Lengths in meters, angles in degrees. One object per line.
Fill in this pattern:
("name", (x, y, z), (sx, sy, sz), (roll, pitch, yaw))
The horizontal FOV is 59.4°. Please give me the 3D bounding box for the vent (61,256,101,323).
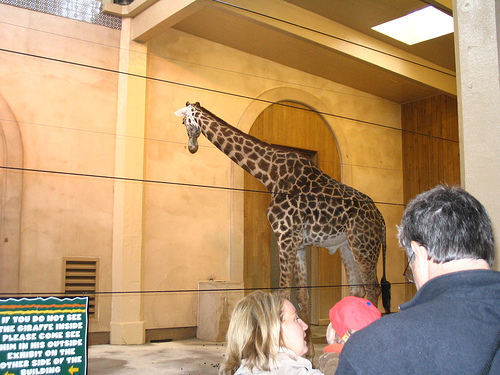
("vent", (-0.617, 0.376, 1.591), (0.138, 0.241, 0.249), (4, -13, -19))
